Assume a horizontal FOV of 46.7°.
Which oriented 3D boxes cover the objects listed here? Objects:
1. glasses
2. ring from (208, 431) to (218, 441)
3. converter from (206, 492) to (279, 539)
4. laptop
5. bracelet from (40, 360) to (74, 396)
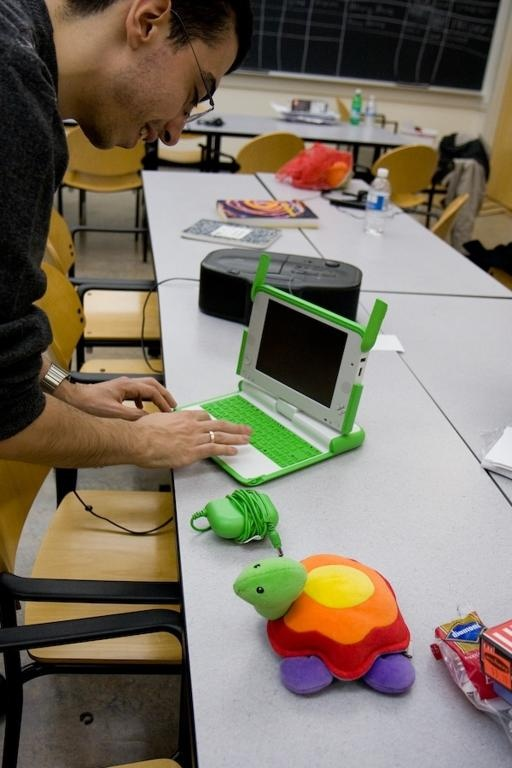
[{"bbox_3d":[-0.096,-0.472,0.868,0.031,0.104,0.101,-15,2,-9],"label":"glasses"},{"bbox_3d":[-0.072,0.086,0.975,0.014,0.004,0.014,40,34,-35],"label":"ring"},{"bbox_3d":[-0.016,0.166,0.799,0.079,0.043,0.062,-1,26,-13],"label":"converter"},{"bbox_3d":[0.065,0.015,1.217,0.365,0.439,0.448,-16,39,-25],"label":"laptop"},{"bbox_3d":[-0.395,0.001,1.185,0.041,0.063,0.062,29,27,-10],"label":"bracelet"}]
